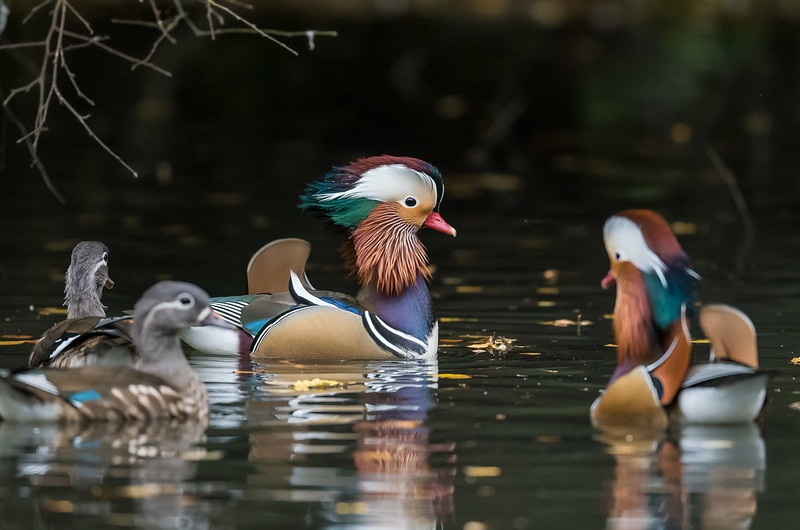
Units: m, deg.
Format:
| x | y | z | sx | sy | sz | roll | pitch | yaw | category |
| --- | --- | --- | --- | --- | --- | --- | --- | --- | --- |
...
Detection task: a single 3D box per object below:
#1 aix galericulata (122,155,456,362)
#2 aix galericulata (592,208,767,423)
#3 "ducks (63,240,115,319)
| x | y | z | sx | sy | sz | roll | pitch | yaw | category |
| --- | --- | --- | --- | --- | --- | --- | --- | --- | --- |
| -0.763 | -0.098 | 11.102 | 2.689 | 2.201 | 1.179 | 0 | 17 | 1 | aix galericulata |
| 2.342 | 0.479 | 8.243 | 1.447 | 1.845 | 0.792 | 4 | 18 | 15 | aix galericulata |
| -3.567 | 0.143 | 10.492 | 0.598 | 0.763 | 0.821 | 2 | 1 | -19 | "ducks |
